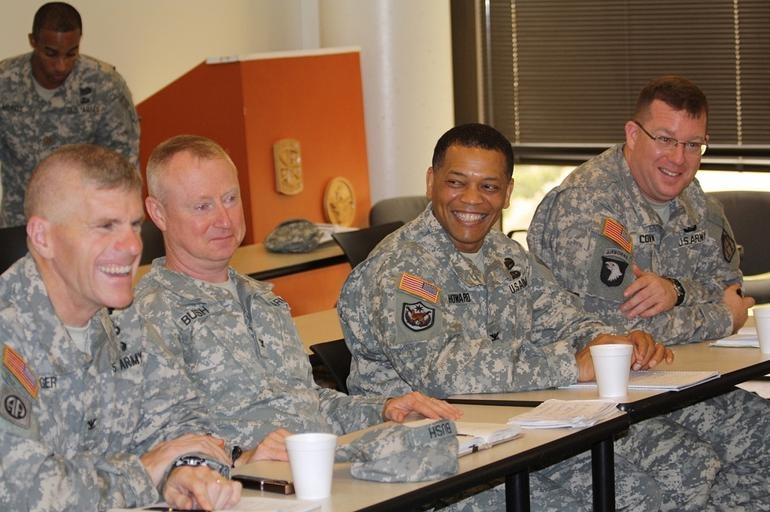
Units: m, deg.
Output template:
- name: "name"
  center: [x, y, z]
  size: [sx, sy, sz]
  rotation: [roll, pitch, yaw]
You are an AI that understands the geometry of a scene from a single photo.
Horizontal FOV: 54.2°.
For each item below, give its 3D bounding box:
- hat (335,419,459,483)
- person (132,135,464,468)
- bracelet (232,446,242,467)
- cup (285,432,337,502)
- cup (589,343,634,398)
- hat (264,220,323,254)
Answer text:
- name: "hat"
  center: [0.046, 0.563, 2.153]
  size: [0.232, 0.066, 0.221]
  rotation: [-9, -1, 8]
- name: "person"
  center: [-0.362, 0.191, 2.908]
  size: [1.358, 1.328, 1.077]
  rotation: [-3, 3, 15]
- name: "bracelet"
  center: [-0.519, 0.706, 2.659]
  size: [0.032, 0.058, 0.016]
  rotation: [10, -18, 9]
- name: "cup"
  center: [-0.198, 0.570, 2.041]
  size: [0.172, 0.168, 0.164]
  rotation: [-1, -1, 0]
- name: "cup"
  center: [0.828, 0.404, 2.656]
  size: [0.174, 0.188, 0.114]
  rotation: [-4, 2, -28]
- name: "hat"
  center: [-0.640, -0.133, 5.287]
  size: [0.317, 0.105, 0.236]
  rotation: [-5, 30, 0]
